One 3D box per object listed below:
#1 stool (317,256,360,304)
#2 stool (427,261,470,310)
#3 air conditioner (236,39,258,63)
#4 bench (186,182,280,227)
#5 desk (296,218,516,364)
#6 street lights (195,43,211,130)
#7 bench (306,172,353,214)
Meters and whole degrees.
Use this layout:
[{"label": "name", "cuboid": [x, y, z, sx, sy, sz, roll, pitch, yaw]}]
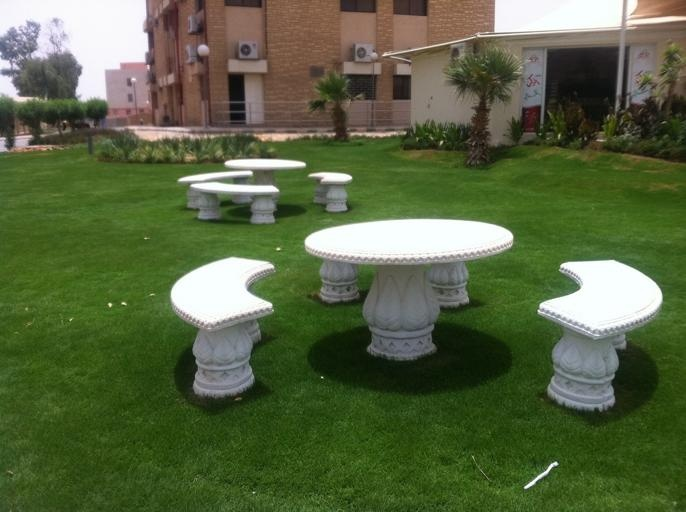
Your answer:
[{"label": "stool", "cuboid": [-0.051, 0.266, 6.669, 0.444, 0.547, 0.467, 2, 8, 19]}, {"label": "stool", "cuboid": [1.251, 0.296, 6.650, 0.456, 0.602, 0.493, -6, 6, -20]}, {"label": "air conditioner", "cuboid": [-5.508, -11.690, 31.896, 1.140, 1.146, 0.423, -4, 10, -25]}, {"label": "bench", "cuboid": [-2.119, -1.061, 10.665, 1.380, 0.699, 2.073, -8, 18, -19]}, {"label": "desk", "cuboid": [0.588, 0.381, 5.390, 1.764, 1.213, 1.132, -2, 16, 0]}, {"label": "street lights", "cuboid": [-7.829, -10.041, 32.100, 0.739, 4.183, 0.811, 9, 18, 22]}, {"label": "bench", "cuboid": [-0.257, -1.349, 11.584, 0.705, 0.705, 1.284, -4, 17, -8]}]
